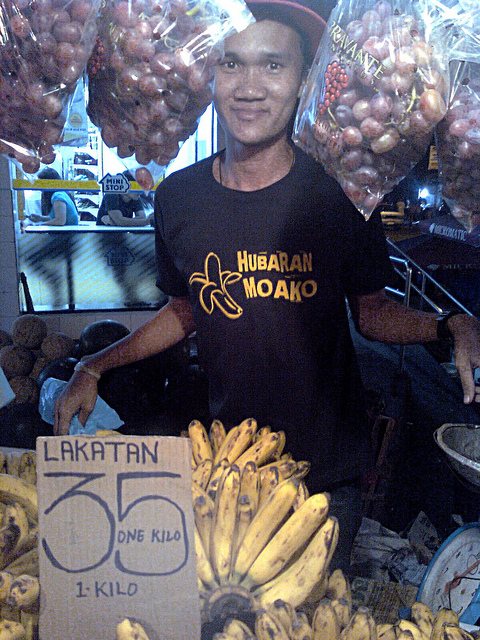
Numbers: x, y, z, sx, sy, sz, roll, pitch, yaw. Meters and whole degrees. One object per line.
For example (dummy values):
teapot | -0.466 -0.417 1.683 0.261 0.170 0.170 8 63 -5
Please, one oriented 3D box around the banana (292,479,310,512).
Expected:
banana | 0.117 0.325 1.112 0.021 0.024 0.070 3 45 2

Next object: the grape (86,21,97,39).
grape | -0.290 -0.559 1.123 0.014 0.025 0.019 19 60 24

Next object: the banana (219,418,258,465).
banana | -0.003 0.261 1.278 0.039 0.038 0.121 -2 33 37

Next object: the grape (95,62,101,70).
grape | -0.300 -0.533 1.221 0.012 0.013 0.007 18 7 -32

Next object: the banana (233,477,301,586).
banana | 0.045 0.373 1.022 0.193 0.051 0.033 -48 31 -4

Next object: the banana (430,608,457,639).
banana | 0.341 0.495 0.971 0.033 0.034 0.063 15 51 8

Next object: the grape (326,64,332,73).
grape | 0.175 -0.498 1.151 0.009 0.015 0.013 13 36 21

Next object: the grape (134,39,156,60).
grape | -0.190 -0.531 1.145 0.034 0.031 0.040 -7 -8 23

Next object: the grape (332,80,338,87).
grape | 0.184 -0.462 1.136 0.009 0.010 0.005 10 8 32

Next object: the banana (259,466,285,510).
banana | 0.053 0.316 1.131 0.031 0.092 0.027 38 -12 -8

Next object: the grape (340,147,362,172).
grape | 0.221 -0.321 1.160 0.031 0.041 0.022 10 63 1

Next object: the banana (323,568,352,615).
banana | 0.188 0.490 1.090 0.018 0.067 0.041 -21 42 -28

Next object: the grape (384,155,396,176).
grape | 0.306 -0.320 1.192 0.010 0.030 0.033 5 24 43

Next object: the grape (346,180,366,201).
grape | 0.237 -0.269 1.206 0.049 0.026 0.016 41 33 -8

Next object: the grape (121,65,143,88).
grape | -0.217 -0.486 1.164 0.043 0.039 0.019 1 31 1

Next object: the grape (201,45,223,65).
grape | -0.058 -0.554 1.216 0.043 0.043 0.022 0 3 0

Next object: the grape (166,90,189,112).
grape | -0.128 -0.460 1.220 0.025 0.047 0.059 20 35 29

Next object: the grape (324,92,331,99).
grape | 0.172 -0.448 1.157 0.007 0.010 0.013 14 20 -5

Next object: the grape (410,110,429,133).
grape | 0.337 -0.374 1.096 0.028 0.035 0.028 7 38 26

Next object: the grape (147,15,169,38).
grape | -0.165 -0.580 1.146 0.037 0.044 0.027 4 -4 -1

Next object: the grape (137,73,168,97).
grape | -0.179 -0.471 1.165 0.042 0.043 0.023 -49 1 -14

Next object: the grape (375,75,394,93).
grape | 0.269 -0.439 1.086 0.028 0.031 0.027 9 0 18

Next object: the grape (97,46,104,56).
grape | -0.290 -0.554 1.202 0.015 0.017 0.010 -2 6 17

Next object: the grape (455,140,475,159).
grape | 0.430 -0.326 1.112 0.020 0.025 0.033 -5 38 -39

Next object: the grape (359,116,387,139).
grape | 0.249 -0.365 1.105 0.044 0.031 0.031 -13 51 -23

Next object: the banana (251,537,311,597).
banana | 0.062 0.452 1.051 0.065 0.185 0.028 -5 49 -49

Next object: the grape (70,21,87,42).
grape | -0.301 -0.545 1.102 0.018 0.030 0.031 6 -14 9

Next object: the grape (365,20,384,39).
grape | 0.253 -0.551 1.100 0.033 0.028 0.037 3 30 4

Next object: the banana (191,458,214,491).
banana | -0.077 0.303 1.167 0.027 0.024 0.086 18 18 -1

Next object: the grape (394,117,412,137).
grape | 0.316 -0.372 1.123 0.023 0.041 0.042 23 37 32

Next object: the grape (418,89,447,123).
grape | 0.354 -0.395 1.079 0.043 0.052 0.041 -6 -8 10

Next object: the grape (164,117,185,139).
grape | -0.155 -0.417 1.288 0.046 0.036 0.036 4 38 -38

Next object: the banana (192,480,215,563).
banana | -0.061 0.362 1.053 0.048 0.126 0.035 -2 8 13

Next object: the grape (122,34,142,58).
grape | -0.215 -0.537 1.139 0.032 0.036 0.020 -16 39 -9

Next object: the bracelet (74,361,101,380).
bracelet | -0.466 0.147 1.776 0.062 0.023 0.047 29 -8 0

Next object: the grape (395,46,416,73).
grape | 0.302 -0.477 1.066 0.039 0.041 0.032 -2 30 -4

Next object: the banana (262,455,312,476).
banana | 0.096 0.303 1.223 0.046 0.036 0.139 -42 4 -23

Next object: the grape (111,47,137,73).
grape | -0.235 -0.517 1.162 0.043 0.049 0.029 0 20 8

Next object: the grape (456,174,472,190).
grape | 0.460 -0.285 1.196 0.036 0.028 0.028 12 11 13

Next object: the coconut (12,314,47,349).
coconut | -1.242 0.058 3.532 0.215 0.226 0.195 0 4 6
